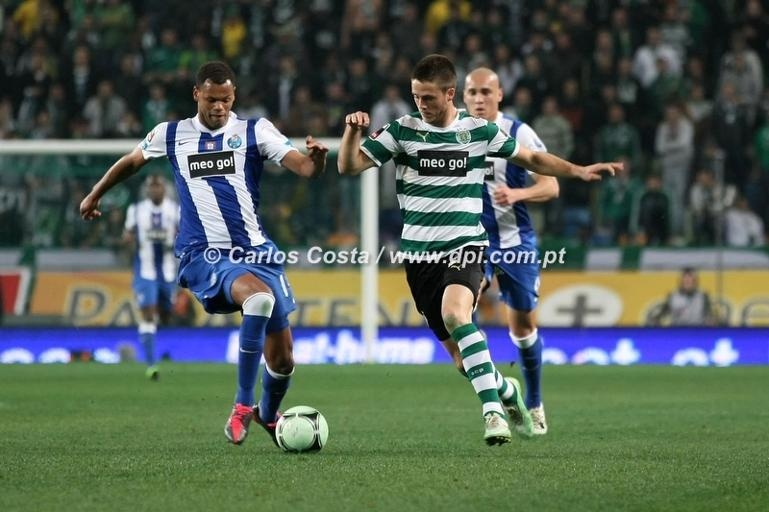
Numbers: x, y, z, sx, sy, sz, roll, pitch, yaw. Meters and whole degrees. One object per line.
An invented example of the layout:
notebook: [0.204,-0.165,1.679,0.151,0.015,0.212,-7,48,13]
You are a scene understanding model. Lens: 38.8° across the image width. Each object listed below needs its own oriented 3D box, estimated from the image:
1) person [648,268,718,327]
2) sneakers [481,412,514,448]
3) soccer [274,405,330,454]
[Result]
person: [3.969,0.583,14.628,0.876,0.646,1.092,0,10,2]
sneakers: [1.002,1.577,9.798,0.212,0.326,0.257,0,10,1]
soccer: [-0.771,1.648,10.319,0.543,0.426,0.431,-2,1,9]
